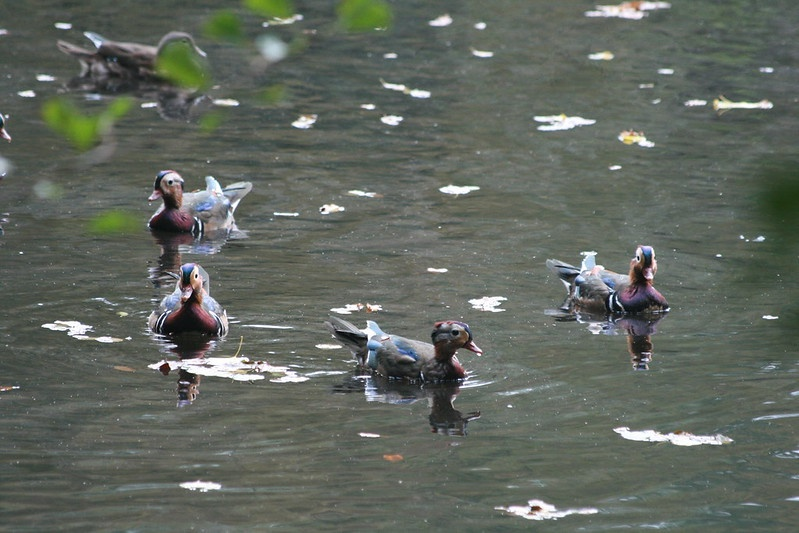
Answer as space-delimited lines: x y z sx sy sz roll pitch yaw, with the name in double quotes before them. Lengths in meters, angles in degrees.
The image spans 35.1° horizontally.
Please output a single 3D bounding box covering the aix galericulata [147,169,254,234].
"aix galericulata" -3.265 -1.077 20.500 1.429 1.052 0.987 7 28 -7
